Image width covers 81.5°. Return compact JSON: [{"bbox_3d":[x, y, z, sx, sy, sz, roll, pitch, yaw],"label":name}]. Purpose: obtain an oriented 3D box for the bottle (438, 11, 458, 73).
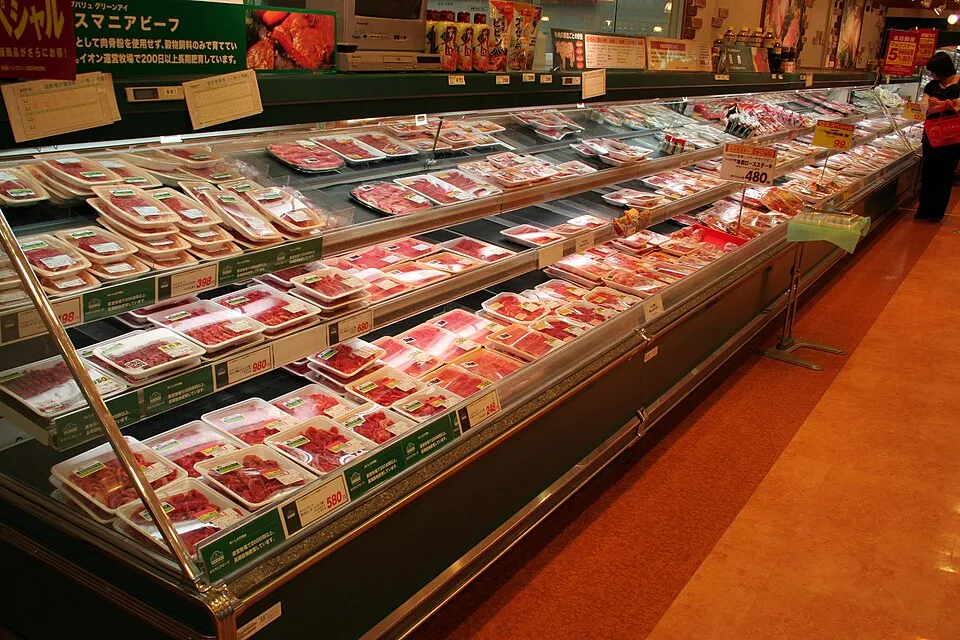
[{"bbox_3d":[-0.140,-1.187,2.426,0.080,0.192,0.097,7,32,6],"label":"bottle"}]
